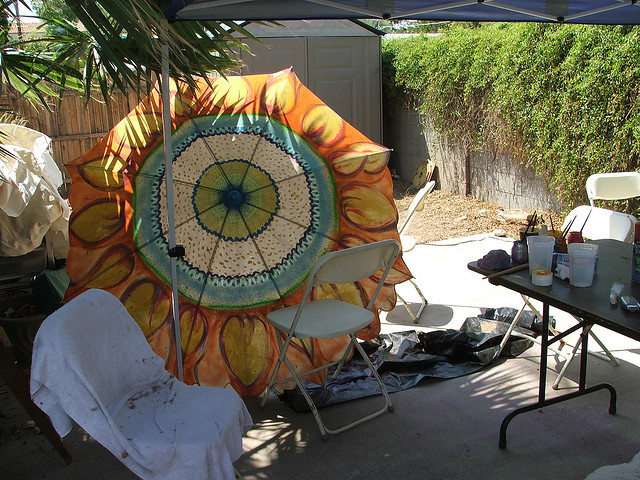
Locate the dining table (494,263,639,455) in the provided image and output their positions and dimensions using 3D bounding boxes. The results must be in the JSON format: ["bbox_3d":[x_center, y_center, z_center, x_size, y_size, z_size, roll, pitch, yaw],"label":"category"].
[{"bbox_3d":[1.561,0.793,3.243,0.666,0.733,0.738,-8,25,-13],"label":"dining table"}]

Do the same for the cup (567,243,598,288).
[{"bbox_3d":[1.438,0.136,2.841,0.186,0.243,0.206,0,6,3],"label":"cup"}]

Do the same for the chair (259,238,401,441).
[{"bbox_3d":[0.046,0.704,3.523,0.692,1.352,0.822,-13,25,-33],"label":"chair"}]

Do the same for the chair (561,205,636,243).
[{"bbox_3d":[2.131,-0.141,4.098,0.491,0.287,0.578,-4,15,1],"label":"chair"}]

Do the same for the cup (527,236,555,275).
[{"bbox_3d":[1.283,0.095,3.013,0.142,0.231,0.295,3,16,23],"label":"cup"}]
